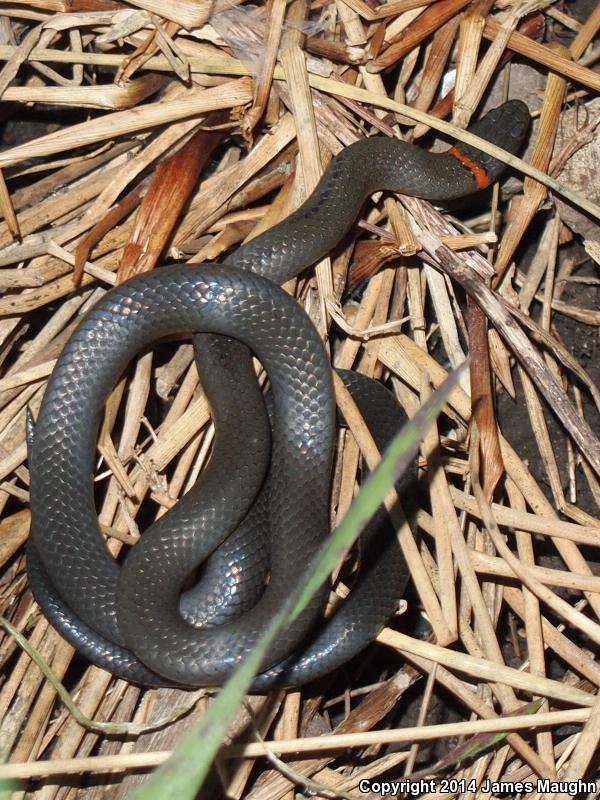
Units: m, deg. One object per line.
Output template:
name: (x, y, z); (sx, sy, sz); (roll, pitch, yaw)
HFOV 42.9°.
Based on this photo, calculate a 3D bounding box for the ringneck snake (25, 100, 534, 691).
ringneck snake: (-0.153, -0.032, 2.402); (1.219, 0.924, 1.655); (15, 53, 0)
